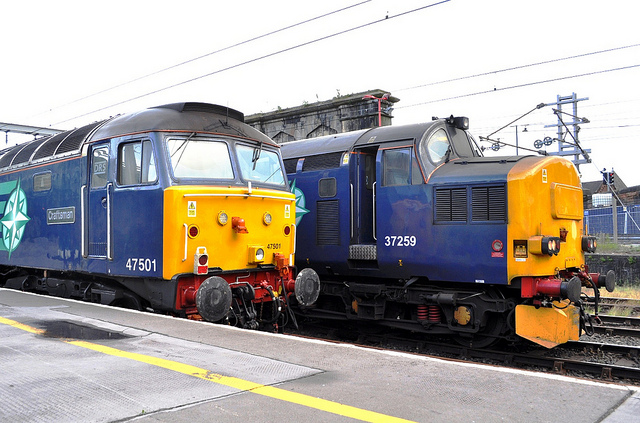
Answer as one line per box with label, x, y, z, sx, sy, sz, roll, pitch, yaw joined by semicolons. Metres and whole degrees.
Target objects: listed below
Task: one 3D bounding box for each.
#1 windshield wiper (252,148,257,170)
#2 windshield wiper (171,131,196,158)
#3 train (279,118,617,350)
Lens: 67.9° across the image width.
windshield wiper;-1.359;-1.053;9.782;0.071;0.477;0.036;6;-14;-15
windshield wiper;-2.534;-1.297;8.928;0.073;0.462;0.064;38;-15;2
train;1.646;0.260;12.334;2.959;4.458;9.791;0;2;-42
